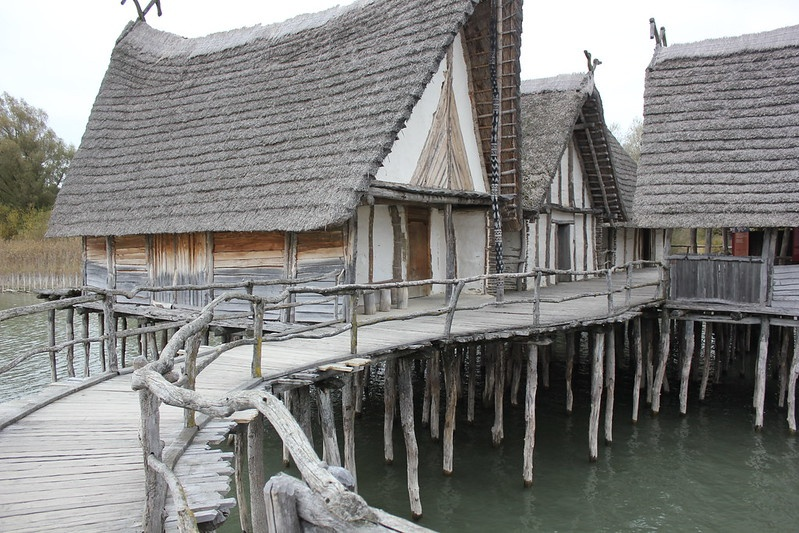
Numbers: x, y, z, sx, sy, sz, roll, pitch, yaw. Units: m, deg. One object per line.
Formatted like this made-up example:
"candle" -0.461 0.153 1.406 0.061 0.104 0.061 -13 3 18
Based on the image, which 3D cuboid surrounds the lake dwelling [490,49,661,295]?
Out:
"lake dwelling" 4.761 -2.330 19.671 3.641 4.873 6.793 3 4 36
